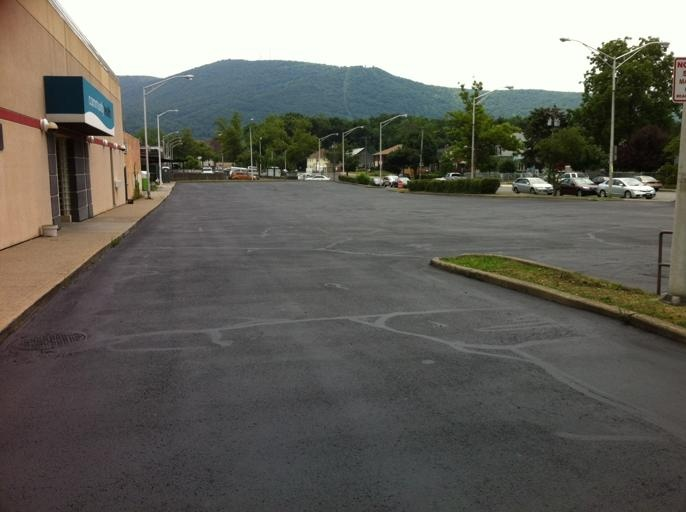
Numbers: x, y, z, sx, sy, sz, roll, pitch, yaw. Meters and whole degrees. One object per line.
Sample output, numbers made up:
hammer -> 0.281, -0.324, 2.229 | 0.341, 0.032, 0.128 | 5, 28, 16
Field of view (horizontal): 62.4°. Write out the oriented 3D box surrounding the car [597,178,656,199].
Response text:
car -> 22.593, -5.416, 45.583 | 3.041, 1.410, 4.808 | -1, 11, -4

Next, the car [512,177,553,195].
car -> 18.093, -6.534, 53.962 | 1.620, 1.247, 3.710 | -2, 6, -11
